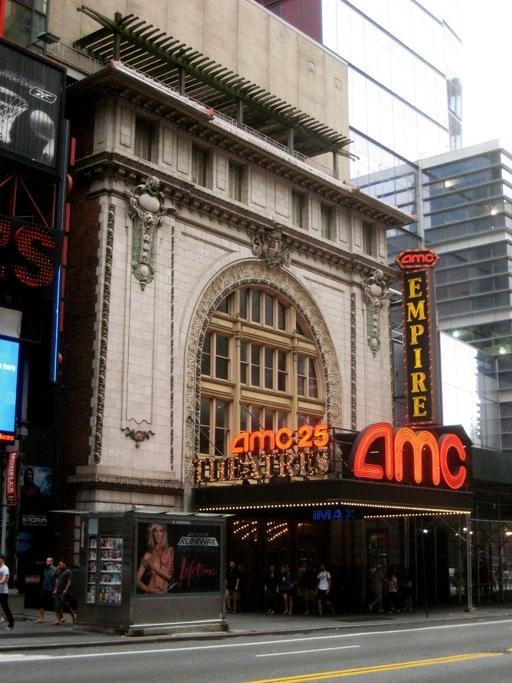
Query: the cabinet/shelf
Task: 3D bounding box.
[{"bbox_3d":[-3.816,6.253,23.832,1.519,2.701,0.872,-20,-36,33],"label":"cabinet/shelf"}]
